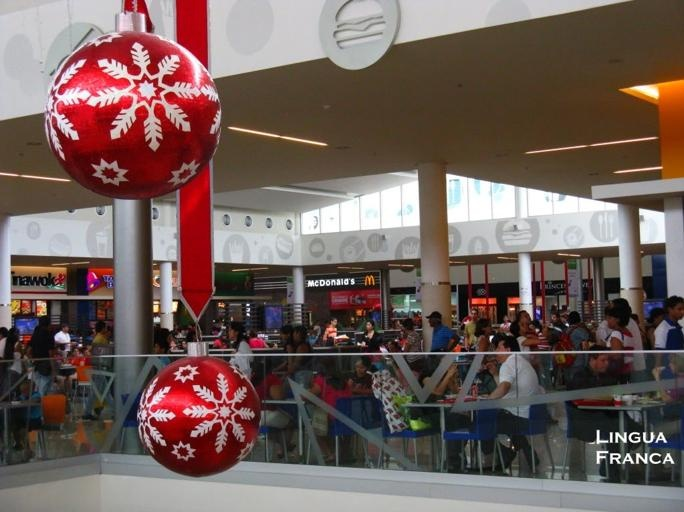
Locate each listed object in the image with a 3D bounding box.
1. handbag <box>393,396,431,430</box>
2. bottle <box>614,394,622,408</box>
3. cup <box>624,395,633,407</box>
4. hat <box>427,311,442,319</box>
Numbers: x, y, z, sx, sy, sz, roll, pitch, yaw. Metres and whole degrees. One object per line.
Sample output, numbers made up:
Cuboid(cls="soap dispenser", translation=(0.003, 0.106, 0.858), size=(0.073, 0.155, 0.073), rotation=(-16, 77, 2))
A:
Cuboid(cls="handbag", translation=(0.672, 1.526, 6.123), size=(0.226, 0.385, 0.075), rotation=(-26, -27, 19))
Cuboid(cls="bottle", translation=(2.408, 1.260, 5.443), size=(0.088, 0.102, 0.059), rotation=(0, -2, 4))
Cuboid(cls="cup", translation=(2.484, 1.255, 5.456), size=(0.081, 0.079, 0.069), rotation=(-2, -3, 18))
Cuboid(cls="hat", translation=(1.619, 0.995, 10.825), size=(0.175, 0.108, 0.134), rotation=(9, -8, -3))
